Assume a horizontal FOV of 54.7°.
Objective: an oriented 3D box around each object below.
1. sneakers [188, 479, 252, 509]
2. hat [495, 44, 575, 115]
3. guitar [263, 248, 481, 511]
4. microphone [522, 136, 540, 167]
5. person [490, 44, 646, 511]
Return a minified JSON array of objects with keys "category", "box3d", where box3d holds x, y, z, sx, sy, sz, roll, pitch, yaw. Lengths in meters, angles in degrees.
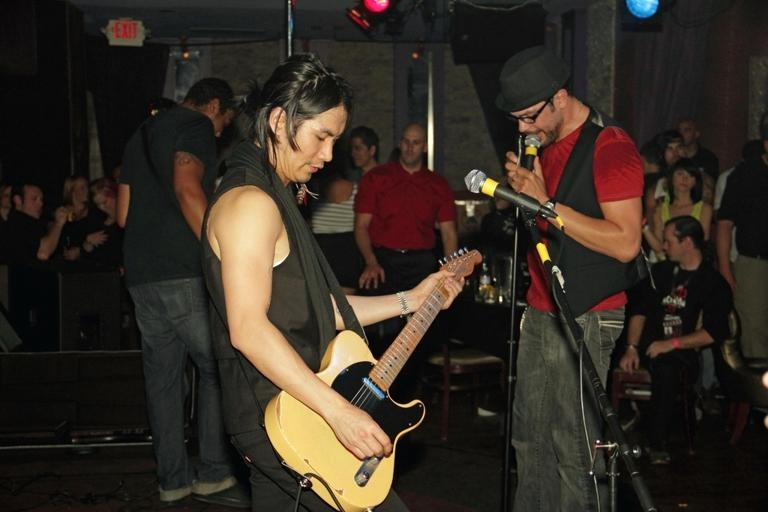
[{"category":"sneakers","box3d":[-1.224,1.840,5.734,0.500,0.215,0.202,4,-7,-5]},{"category":"hat","box3d":[1.032,-1.180,4.986,0.383,0.485,0.190,30,-18,41]},{"category":"guitar","box3d":[-0.046,0.803,4.243,0.179,0.616,1.429,-22,23,54]},{"category":"microphone","box3d":[0.953,-0.679,4.847,0.111,0.251,0.298,2,3,9]},{"category":"person","box3d":[1.198,0.192,4.927,0.939,3.193,0.652,3,4,18]}]
